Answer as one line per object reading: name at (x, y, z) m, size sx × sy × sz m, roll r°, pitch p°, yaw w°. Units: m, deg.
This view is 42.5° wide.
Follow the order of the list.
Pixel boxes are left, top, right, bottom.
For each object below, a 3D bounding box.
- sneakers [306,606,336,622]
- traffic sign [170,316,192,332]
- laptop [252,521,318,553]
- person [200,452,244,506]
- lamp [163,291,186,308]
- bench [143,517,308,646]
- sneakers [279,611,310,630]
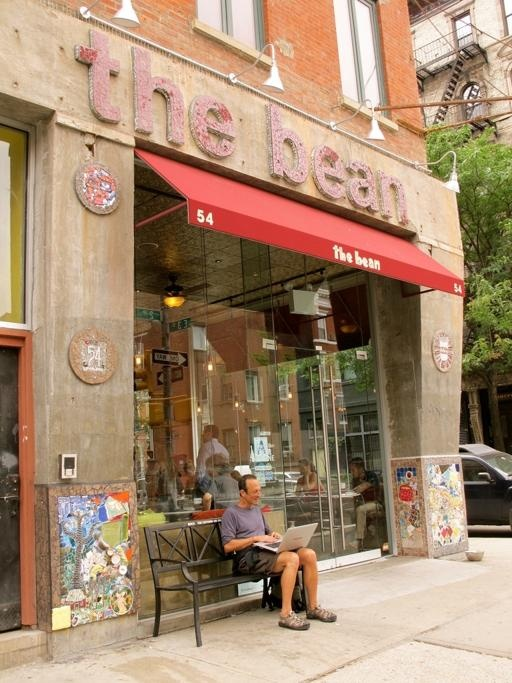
sneakers at (0.555, 2.325, 5.653) m, size 0.258 × 0.110 × 0.100 m, roll -9°, pitch -12°, yaw 36°
traffic sign at (-0.870, -0.201, 7.631) m, size 0.038 × 0.216 × 0.411 m, roll -7°, pitch -11°, yaw 28°
laptop at (0.254, 1.716, 5.772) m, size 0.365 × 0.228 × 0.389 m, roll 3°, pitch -7°, yaw 42°
person at (-0.403, 1.548, 7.352) m, size 0.370 × 0.751 × 0.244 m, roll 20°, pitch -44°, yaw -34°
lamp at (-0.951, -0.479, 7.640) m, size 0.187 × 0.103 × 0.183 m, roll -12°, pitch -13°, yaw 19°
bench at (-0.317, 2.110, 6.044) m, size 0.566 × 0.892 × 1.490 m, roll -10°, pitch -15°, yaw 31°
sneakers at (0.311, 2.277, 5.401) m, size 0.232 × 0.108 × 0.118 m, roll -9°, pitch -14°, yaw 37°
